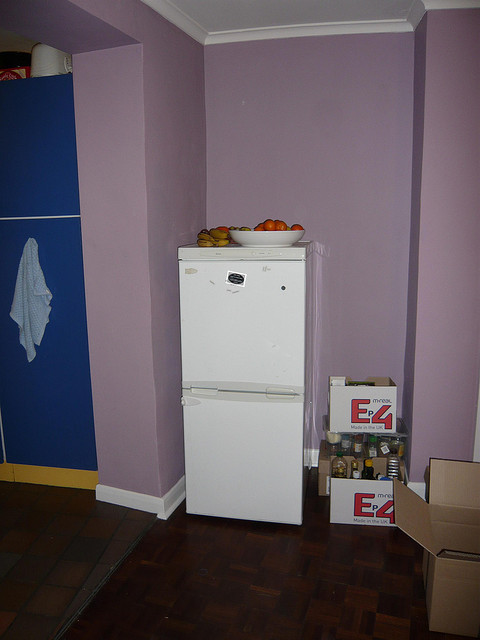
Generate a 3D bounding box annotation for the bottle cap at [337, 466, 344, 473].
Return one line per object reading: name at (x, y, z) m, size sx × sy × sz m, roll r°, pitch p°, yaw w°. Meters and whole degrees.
bottle cap at (0.499, 0.746, 2.610) m, size 0.025 × 0.029 × 0.026 m, roll 11°, pitch 16°, yaw 36°

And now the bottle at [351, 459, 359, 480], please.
bottle at (0.569, 0.751, 2.599) m, size 0.036 × 0.103 × 0.184 m, roll 1°, pitch 9°, yaw 12°

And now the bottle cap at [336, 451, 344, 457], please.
bottle cap at (0.507, 0.685, 2.660) m, size 0.027 × 0.024 × 0.031 m, roll 4°, pitch 12°, yaw 10°

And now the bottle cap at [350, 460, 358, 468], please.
bottle cap at (0.567, 0.719, 2.620) m, size 0.031 × 0.042 × 0.064 m, roll 2°, pitch -5°, yaw 6°

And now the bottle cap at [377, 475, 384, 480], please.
bottle cap at (0.679, 0.765, 2.541) m, size 0.024 × 0.030 × 0.043 m, roll 3°, pitch -12°, yaw 7°

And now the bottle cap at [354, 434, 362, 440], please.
bottle cap at (0.666, 0.665, 2.964) m, size 0.032 × 0.042 × 0.067 m, roll 1°, pitch -1°, yaw 24°

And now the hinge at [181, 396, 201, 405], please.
hinge at (-0.240, 0.393, 2.535) m, size 0.073 × 0.048 × 0.019 m, roll 4°, pitch 8°, yaw 15°

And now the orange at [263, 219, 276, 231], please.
orange at (0.140, -0.442, 2.465) m, size 0.037 × 0.064 × 0.044 m, roll -3°, pitch -8°, yaw 3°

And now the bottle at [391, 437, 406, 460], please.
bottle at (0.808, 0.657, 2.696) m, size 0.060 × 0.131 × 0.077 m, roll -6°, pitch 17°, yaw -5°

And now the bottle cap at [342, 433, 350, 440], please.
bottle cap at (0.557, 0.615, 2.764) m, size 0.032 × 0.036 × 0.032 m, roll -1°, pitch 3°, yaw -44°

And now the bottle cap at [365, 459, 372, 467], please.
bottle cap at (0.625, 0.701, 2.561) m, size 0.027 × 0.024 × 0.030 m, roll 0°, pitch 7°, yaw -3°

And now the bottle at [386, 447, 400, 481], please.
bottle at (0.760, 0.728, 2.619) m, size 0.063 × 0.120 × 0.162 m, roll 2°, pitch 9°, yaw 18°

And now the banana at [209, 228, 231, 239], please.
banana at (-0.094, -0.439, 2.619) m, size 0.092 × 0.035 × 0.054 m, roll 15°, pitch 52°, yaw 28°

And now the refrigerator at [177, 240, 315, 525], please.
refrigerator at (0.023, 0.210, 2.725) m, size 0.642 × 1.505 × 0.594 m, roll 7°, pitch 28°, yaw 12°

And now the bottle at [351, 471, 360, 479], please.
bottle at (0.568, 0.761, 2.564) m, size 0.046 × 0.037 × 0.035 m, roll -3°, pitch 9°, yaw -14°

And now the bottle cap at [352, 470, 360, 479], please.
bottle cap at (0.566, 0.757, 2.560) m, size 0.021 × 0.035 × 0.033 m, roll 0°, pitch -8°, yaw 5°

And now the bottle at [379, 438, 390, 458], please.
bottle at (0.743, 0.665, 2.699) m, size 0.039 × 0.046 × 0.079 m, roll -13°, pitch 23°, yaw 12°
